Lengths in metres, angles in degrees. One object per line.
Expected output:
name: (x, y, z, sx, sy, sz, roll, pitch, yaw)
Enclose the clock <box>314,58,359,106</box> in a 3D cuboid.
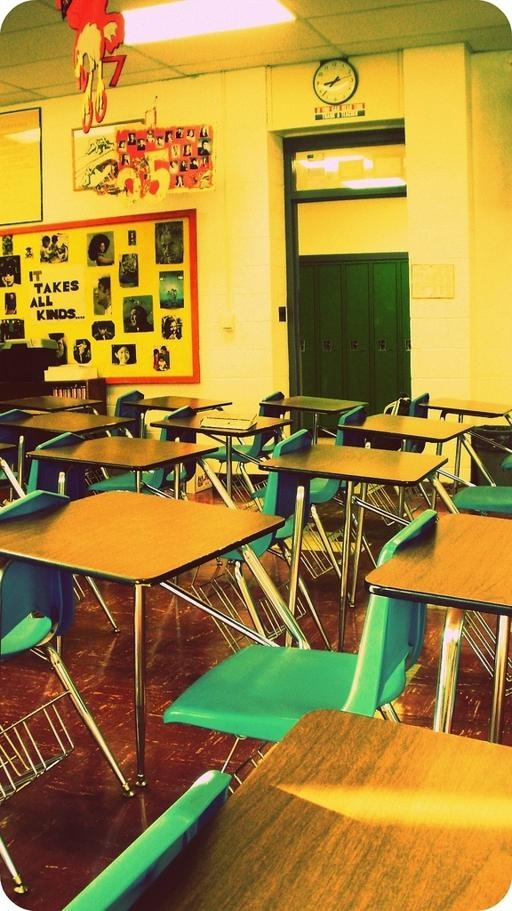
clock: (0.779, -3.560, 6.205, 0.420, 0.506, 0.066, 2, 22, 25)
